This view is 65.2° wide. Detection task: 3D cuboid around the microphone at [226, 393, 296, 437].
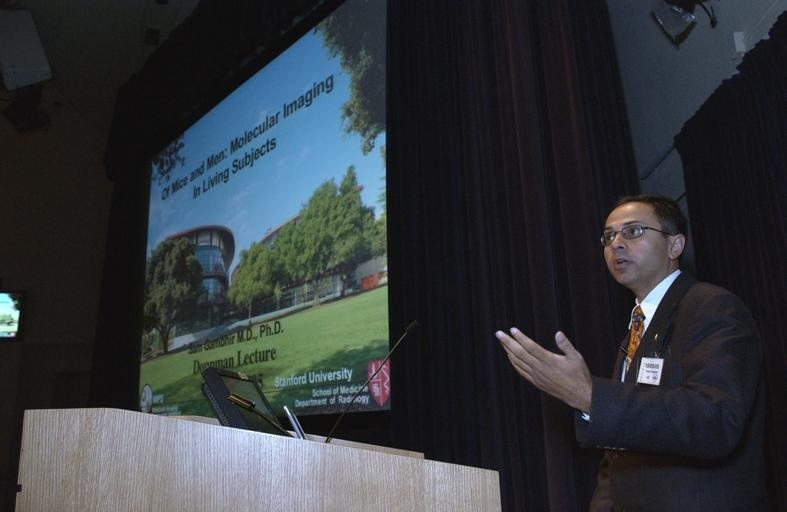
[{"bbox_3d":[-0.576,0.703,2.742,0.176,0.206,0.265,-16,-17,24],"label":"microphone"}]
